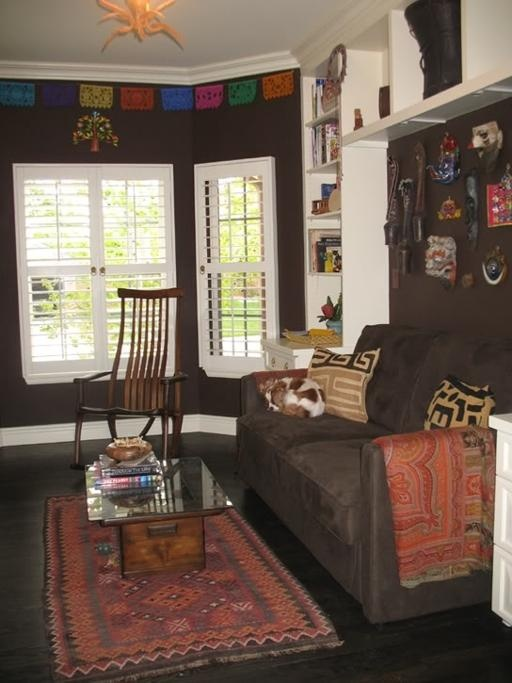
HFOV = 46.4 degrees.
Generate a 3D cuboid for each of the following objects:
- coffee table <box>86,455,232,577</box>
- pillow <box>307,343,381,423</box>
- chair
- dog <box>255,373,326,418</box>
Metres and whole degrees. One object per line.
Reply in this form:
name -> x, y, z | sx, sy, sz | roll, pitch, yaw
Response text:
coffee table -> -0.347, 0.605, 2.102 | 0.431, 0.191, 0.375 | -1, 6, -11
pillow -> 0.414, 0.173, 2.980 | 0.433, 0.378, 0.107 | -3, -12, -22
chair -> -0.857, 0.199, 4.020 | 0.741, 1.124, 1.248 | -2, 3, -8
dog -> 0.188, 0.269, 3.023 | 0.249, 0.099, 0.188 | 13, 17, 40
